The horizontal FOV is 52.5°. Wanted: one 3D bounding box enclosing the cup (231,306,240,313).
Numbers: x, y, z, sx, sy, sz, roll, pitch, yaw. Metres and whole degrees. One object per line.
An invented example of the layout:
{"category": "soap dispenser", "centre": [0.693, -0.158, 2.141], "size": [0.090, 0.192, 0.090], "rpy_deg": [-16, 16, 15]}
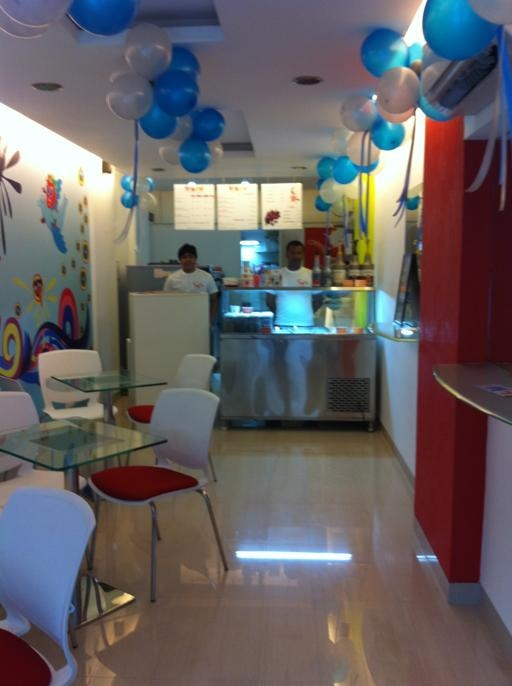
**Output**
{"category": "cup", "centre": [-0.201, -0.321, 4.976], "size": [0.060, 0.053, 0.066], "rpy_deg": [0, 0, 0]}

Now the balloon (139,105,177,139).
{"category": "balloon", "centre": [-0.525, -1.204, 2.823], "size": [0.125, 0.147, 0.159], "rpy_deg": [-7, 23, -20]}

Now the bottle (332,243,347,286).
{"category": "bottle", "centre": [0.829, -0.735, 5.168], "size": [0.126, 0.331, 0.269], "rpy_deg": [1, 5, 8]}

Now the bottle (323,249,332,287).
{"category": "bottle", "centre": [0.709, -0.734, 5.182], "size": [0.096, 0.322, 0.167], "rpy_deg": [0, 5, 2]}

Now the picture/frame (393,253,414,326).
{"category": "picture/frame", "centre": [1.001, -0.366, 3.520], "size": [0.098, 0.495, 0.401], "rpy_deg": [1, 5, 14]}

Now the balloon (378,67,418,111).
{"category": "balloon", "centre": [0.589, -0.997, 2.149], "size": [0.147, 0.202, 0.158], "rpy_deg": [2, 5, 20]}

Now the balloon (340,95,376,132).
{"category": "balloon", "centre": [0.557, -1.241, 2.813], "size": [0.144, 0.179, 0.178], "rpy_deg": [-3, 6, -34]}

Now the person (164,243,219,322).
{"category": "person", "centre": [-0.642, -0.627, 5.349], "size": [0.647, 0.782, 0.348], "rpy_deg": [3, 6, 35]}

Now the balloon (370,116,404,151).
{"category": "balloon", "centre": [0.703, -1.108, 2.834], "size": [0.154, 0.207, 0.164], "rpy_deg": [-15, 16, -10]}

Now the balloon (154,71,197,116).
{"category": "balloon", "centre": [-0.399, -1.246, 2.592], "size": [0.178, 0.231, 0.181], "rpy_deg": [25, 29, 35]}

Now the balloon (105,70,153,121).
{"category": "balloon", "centre": [-0.619, -1.217, 2.531], "size": [0.210, 0.212, 0.131], "rpy_deg": [1, 5, 13]}

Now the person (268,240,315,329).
{"category": "person", "centre": [0.339, -0.594, 5.169], "size": [0.456, 0.859, 0.480], "rpy_deg": [0, 5, 5]}

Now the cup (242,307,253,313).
{"category": "cup", "centre": [-0.081, -0.316, 4.971], "size": [0.064, 0.043, 0.067], "rpy_deg": [0, 5, 0]}

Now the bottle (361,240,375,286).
{"category": "bottle", "centre": [1.111, -0.801, 5.171], "size": [0.126, 0.463, 0.332], "rpy_deg": [1, 5, 11]}
